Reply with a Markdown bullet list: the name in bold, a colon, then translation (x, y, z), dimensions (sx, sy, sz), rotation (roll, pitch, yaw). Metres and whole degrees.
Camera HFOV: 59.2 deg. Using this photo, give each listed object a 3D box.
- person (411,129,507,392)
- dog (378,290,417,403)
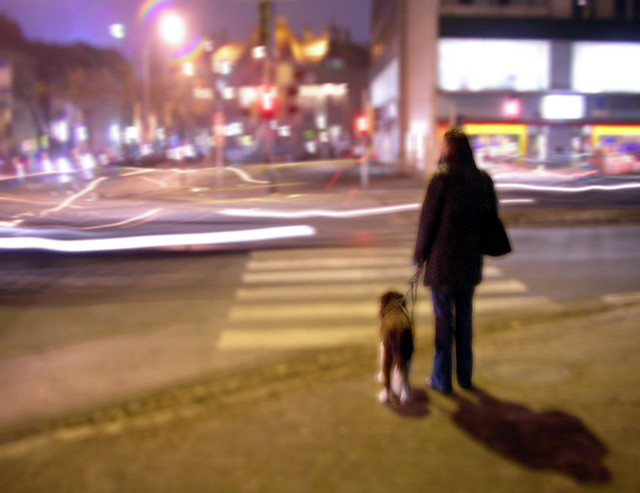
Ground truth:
- **person**: translation (1.254, 0.155, 5.104), dimensions (0.791, 2.368, 0.366), rotation (-10, 14, -24)
- **dog**: translation (0.682, 0.930, 5.085), dimensions (0.296, 0.874, 0.508), rotation (-3, 13, 3)
